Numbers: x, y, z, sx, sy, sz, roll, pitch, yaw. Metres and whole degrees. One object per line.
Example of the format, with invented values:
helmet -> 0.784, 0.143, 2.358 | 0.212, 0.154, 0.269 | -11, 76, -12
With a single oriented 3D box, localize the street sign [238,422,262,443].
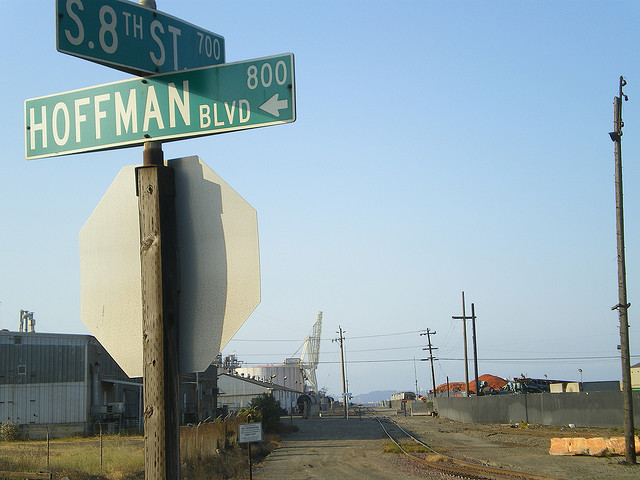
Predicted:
street sign -> -1.459, 4.017, 17.093 | 0.469, 0.396, 0.432 | 0, -11, -8
